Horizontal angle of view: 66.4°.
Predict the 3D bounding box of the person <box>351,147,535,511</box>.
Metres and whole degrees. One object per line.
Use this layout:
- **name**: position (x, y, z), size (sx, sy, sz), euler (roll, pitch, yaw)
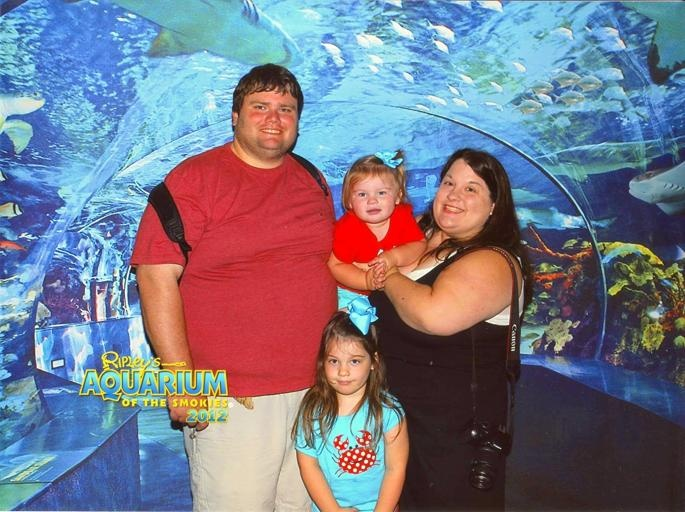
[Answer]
- **person**: position (0.567, 0.397, 2.795), size (0.845, 2.009, 0.476), euler (-3, -6, 13)
